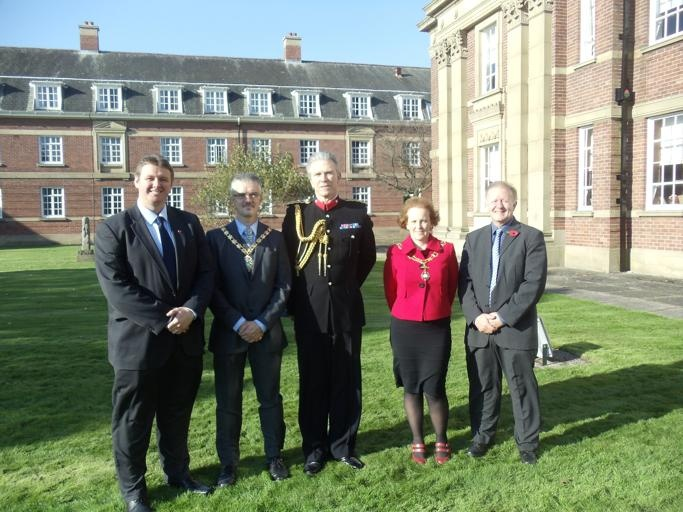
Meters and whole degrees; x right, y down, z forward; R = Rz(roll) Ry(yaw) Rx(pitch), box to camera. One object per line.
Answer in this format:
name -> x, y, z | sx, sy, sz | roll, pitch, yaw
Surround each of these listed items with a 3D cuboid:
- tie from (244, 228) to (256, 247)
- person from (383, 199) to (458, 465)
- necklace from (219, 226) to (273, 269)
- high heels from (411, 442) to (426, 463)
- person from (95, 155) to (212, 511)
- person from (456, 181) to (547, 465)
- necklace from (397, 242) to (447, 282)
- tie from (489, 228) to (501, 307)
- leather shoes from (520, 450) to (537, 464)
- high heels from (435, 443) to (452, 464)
tie -> -0.847, -0.164, 5.590 | 0.082, 0.162, 0.036 | -2, -5, 0
person -> 0.755, 0.685, 5.709 | 0.669, 2.380, 0.842 | -1, 14, 2
necklace -> -0.880, -0.058, 5.576 | 0.338, 0.377, 0.063 | -1, -14, -14
high heels -> 0.715, 1.823, 5.624 | 0.130, 0.159, 0.141 | 0, 14, 6
person -> -1.544, 0.614, 5.176 | 1.005, 2.809, 0.821 | -9, 16, -29
person -> 1.484, 0.607, 5.617 | 0.801, 2.474, 0.769 | 1, 14, 11
necklace -> 0.755, 0.074, 5.669 | 0.325, 0.365, 0.089 | 0, 3, 5
tie -> 1.448, 0.109, 5.671 | 0.098, 0.734, 0.085 | 3, -8, 21
leather shoes -> 1.706, 1.836, 5.509 | 0.143, 0.086, 0.096 | 2, 15, 14
high heels -> 0.950, 1.814, 5.657 | 0.145, 0.172, 0.246 | 1, 15, 9
